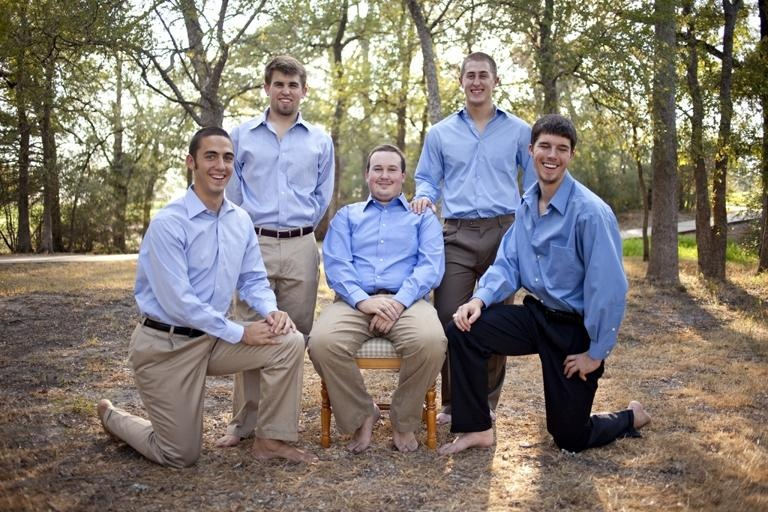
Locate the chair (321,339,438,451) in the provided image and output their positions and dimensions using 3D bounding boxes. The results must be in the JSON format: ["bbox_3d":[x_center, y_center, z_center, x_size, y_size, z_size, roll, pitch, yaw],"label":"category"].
[{"bbox_3d":[-0.024,1.255,7.396,1.205,1.639,1.241,1,-33,1],"label":"chair"}]
